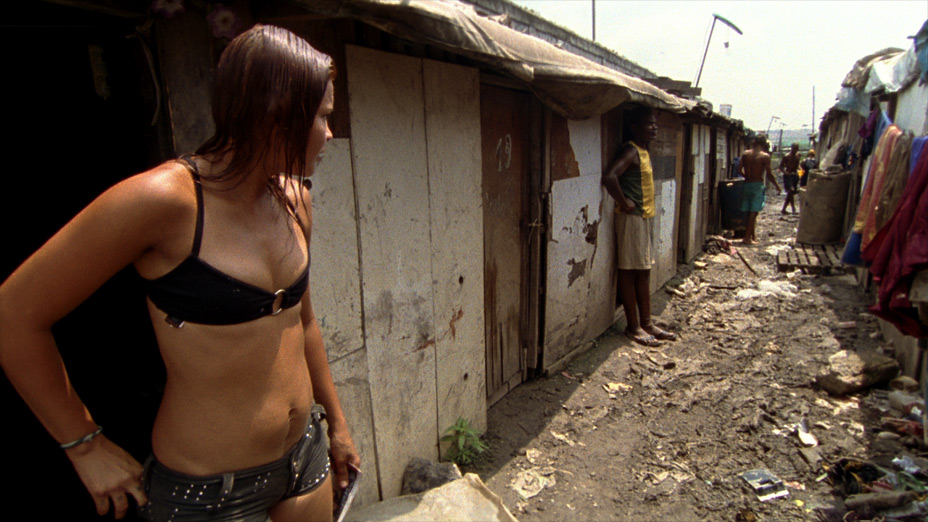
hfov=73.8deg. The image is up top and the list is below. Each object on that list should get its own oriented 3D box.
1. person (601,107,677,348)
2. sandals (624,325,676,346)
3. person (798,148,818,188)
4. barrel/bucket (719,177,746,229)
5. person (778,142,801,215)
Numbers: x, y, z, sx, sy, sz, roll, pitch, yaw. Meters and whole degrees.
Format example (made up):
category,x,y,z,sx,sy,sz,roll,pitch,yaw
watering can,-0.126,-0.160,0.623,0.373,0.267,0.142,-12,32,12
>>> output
category,x,y,z,sx,sy,sz,roll,pitch,yaw
person,2.149,-0.419,7.705,1.005,2.846,0.922,-5,18,-21
sandals,2.341,0.954,7.890,0.401,0.143,0.302,2,10,32
person,11.073,-2.976,19.801,0.508,1.469,0.366,-1,52,19
barrel/bucket,6.018,-1.214,13.688,0.651,1.111,0.652,2,-4,0
person,9.945,-2.484,18.797,0.617,2.109,1.138,11,19,26
